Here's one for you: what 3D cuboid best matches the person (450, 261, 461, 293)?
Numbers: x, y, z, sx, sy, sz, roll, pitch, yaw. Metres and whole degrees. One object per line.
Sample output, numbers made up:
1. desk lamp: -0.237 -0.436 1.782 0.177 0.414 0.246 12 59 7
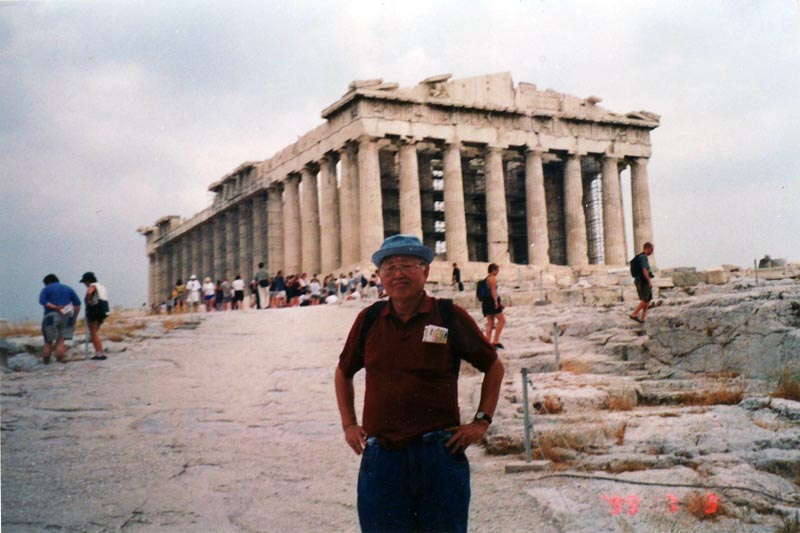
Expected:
1. person: 2.022 0.428 30.033 0.360 1.217 0.487 -2 -31 3
